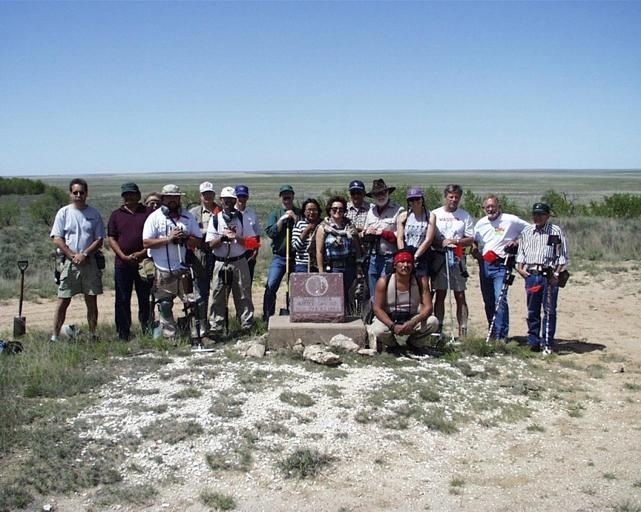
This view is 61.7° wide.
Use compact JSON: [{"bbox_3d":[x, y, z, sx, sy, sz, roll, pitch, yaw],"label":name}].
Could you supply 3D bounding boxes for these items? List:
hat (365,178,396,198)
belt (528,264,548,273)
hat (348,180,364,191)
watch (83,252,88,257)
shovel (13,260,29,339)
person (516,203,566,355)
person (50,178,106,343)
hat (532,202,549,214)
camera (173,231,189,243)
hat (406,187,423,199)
[{"bbox_3d":[1.108,-1.224,9.824,0.353,0.183,0.426,-20,-5,15],"label":"hat"},{"bbox_3d":[3.818,0.224,9.429,0.305,0.156,0.103,6,11,20],"label":"belt"},{"bbox_3d":[0.662,-1.302,9.819,0.263,0.221,0.453,1,-3,4],"label":"hat"},{"bbox_3d":[-3.973,-0.010,9.002,0.042,0.067,0.101,2,10,0],"label":"watch"},{"bbox_3d":[-5.533,0.846,9.878,0.232,1.477,0.221,3,0,-32],"label":"shovel"},{"bbox_3d":[3.991,0.387,9.688,0.857,2.680,0.848,7,11,26],"label":"person"},{"bbox_3d":[-4.155,0.091,9.174,0.879,2.802,0.603,-2,11,-24],"label":"person"},{"bbox_3d":[3.842,-0.844,9.348,0.213,0.175,0.302,0,-18,43],"label":"hat"},{"bbox_3d":[-2.353,-0.324,9.022,0.295,0.230,0.155,-6,12,-37],"label":"camera"},{"bbox_3d":[1.634,-1.121,9.318,0.259,0.213,0.448,-5,-2,7],"label":"hat"}]
